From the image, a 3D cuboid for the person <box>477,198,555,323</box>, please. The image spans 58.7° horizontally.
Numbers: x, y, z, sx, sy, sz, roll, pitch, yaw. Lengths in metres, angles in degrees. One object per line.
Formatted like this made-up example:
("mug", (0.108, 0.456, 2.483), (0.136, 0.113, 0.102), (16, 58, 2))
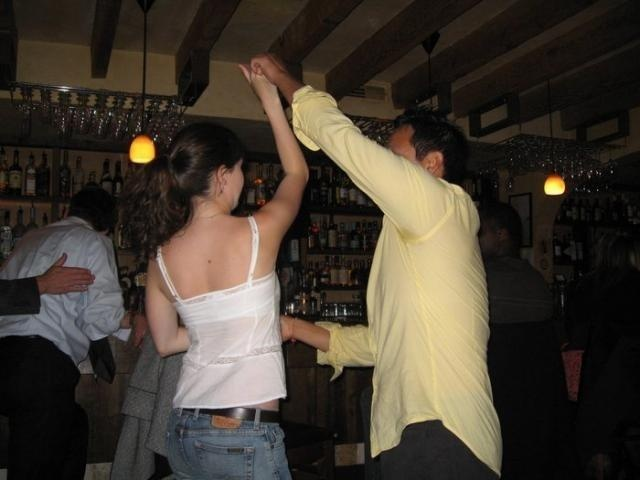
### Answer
("person", (1.060, 0.122, 3.292), (0.318, 0.697, 0.687), (4, -4, 37))
